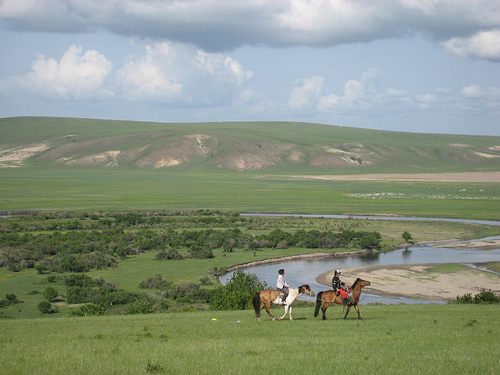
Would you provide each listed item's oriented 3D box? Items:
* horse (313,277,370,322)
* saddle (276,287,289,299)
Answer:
[{"bbox_3d":[12.473,15.499,117.728,7.269,5.595,6.089,-4,-2,-10],"label":"horse"},{"bbox_3d":[4.397,13.756,117.020,1.455,1.571,0.736,0,12,-4],"label":"saddle"}]
